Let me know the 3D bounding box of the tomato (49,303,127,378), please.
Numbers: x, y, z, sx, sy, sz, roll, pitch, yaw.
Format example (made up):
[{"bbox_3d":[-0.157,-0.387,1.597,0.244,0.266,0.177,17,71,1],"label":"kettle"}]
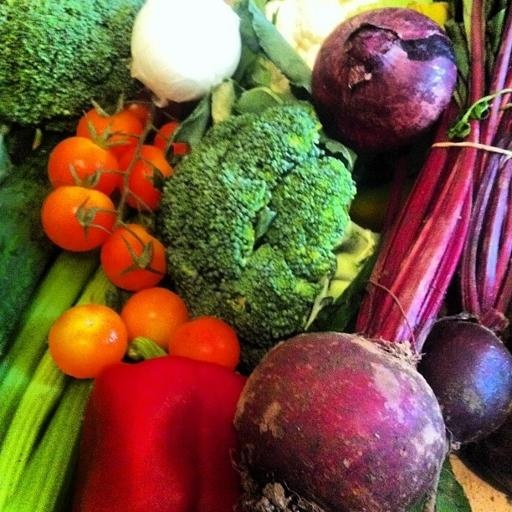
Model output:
[{"bbox_3d":[-0.303,0.155,0.974,0.124,0.104,0.133,16,40,7],"label":"tomato"}]

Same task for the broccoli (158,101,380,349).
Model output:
[{"bbox_3d":[0.010,-0.065,0.976,0.354,0.150,0.437,23,94,-3],"label":"broccoli"}]

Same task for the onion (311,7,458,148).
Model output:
[{"bbox_3d":[0.221,-0.303,0.926,0.215,0.262,0.144,-13,15,18],"label":"onion"}]
